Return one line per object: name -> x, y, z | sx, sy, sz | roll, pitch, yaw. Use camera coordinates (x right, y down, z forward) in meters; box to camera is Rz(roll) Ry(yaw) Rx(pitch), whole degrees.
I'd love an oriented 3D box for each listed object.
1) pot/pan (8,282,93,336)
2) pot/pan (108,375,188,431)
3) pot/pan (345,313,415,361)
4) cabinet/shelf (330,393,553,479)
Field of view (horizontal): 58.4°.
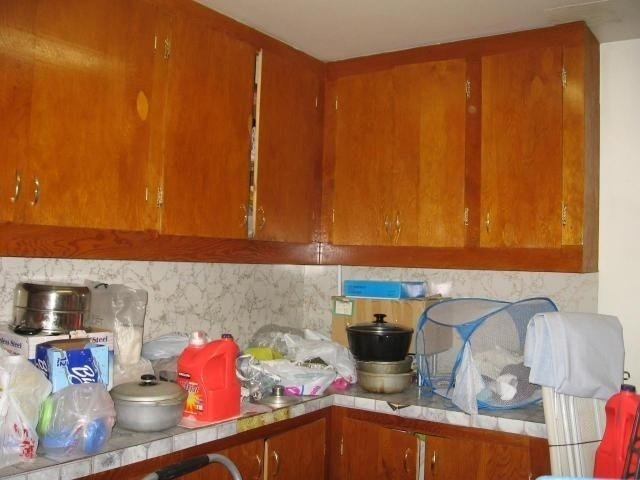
pot/pan -> -1.044, 0.272, 2.217 | 0.206, 0.158, 0.220 | 5, -4, -4
pot/pan -> -0.663, 0.638, 2.201 | 0.210, 0.155, 0.205 | 0, -11, 8
pot/pan -> 0.298, 0.506, 2.837 | 0.237, 0.177, 0.259 | 0, -18, 2
cabinet/shelf -> 0.574, 0.910, 2.696 | 0.932, 0.309, 0.113 | -3, -2, 24
